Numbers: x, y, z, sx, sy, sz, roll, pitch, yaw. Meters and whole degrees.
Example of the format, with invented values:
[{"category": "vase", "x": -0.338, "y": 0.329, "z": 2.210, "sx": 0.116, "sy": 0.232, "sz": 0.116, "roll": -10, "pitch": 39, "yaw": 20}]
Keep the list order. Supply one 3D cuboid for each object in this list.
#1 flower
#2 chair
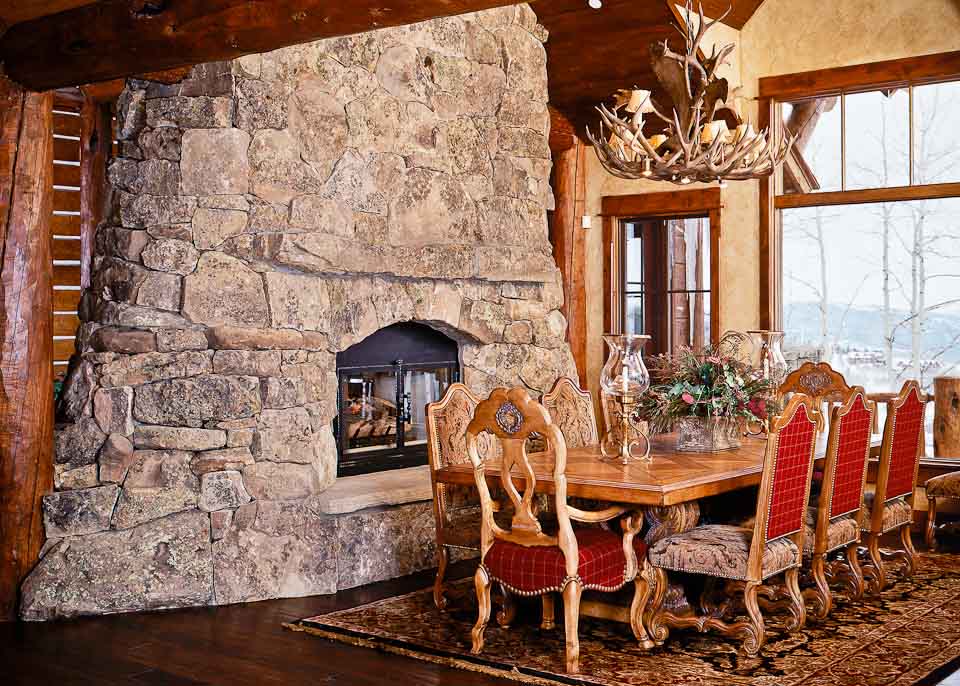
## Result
[{"category": "flower", "x": 1.389, "y": 0.344, "z": 4.562, "sx": 0.750, "sy": 0.412, "sz": 0.683, "roll": 3, "pitch": 4, "yaw": -19}, {"category": "chair", "x": 0.737, "y": 0.890, "z": 3.925, "sx": 1.992, "sy": 1.337, "sz": 1.210, "roll": 0, "pitch": -1, "yaw": -1}]
